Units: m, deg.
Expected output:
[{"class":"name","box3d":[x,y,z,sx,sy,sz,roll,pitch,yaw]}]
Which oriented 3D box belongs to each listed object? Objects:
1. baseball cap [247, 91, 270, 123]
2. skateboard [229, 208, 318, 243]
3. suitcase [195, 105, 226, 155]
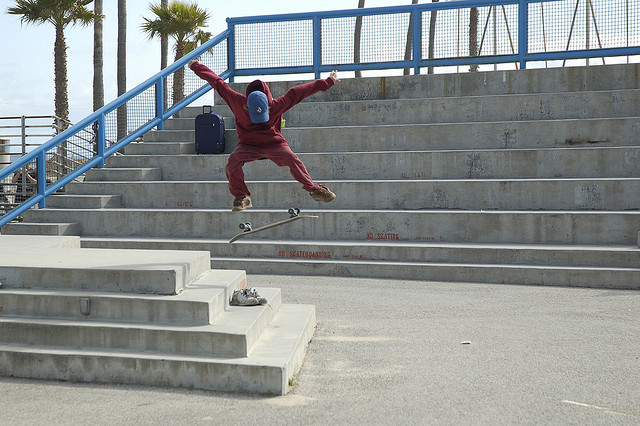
[{"class":"baseball cap","box3d":[-0.985,-1.669,15.260,0.300,0.478,0.258,-6,7,-1]},{"class":"skateboard","box3d":[-0.823,0.243,17.390,1.286,0.261,0.263,-15,-12,-2]},{"class":"suitcase","box3d":[-2.250,-1.615,19.811,0.584,0.816,0.268,0,6,-8]}]
